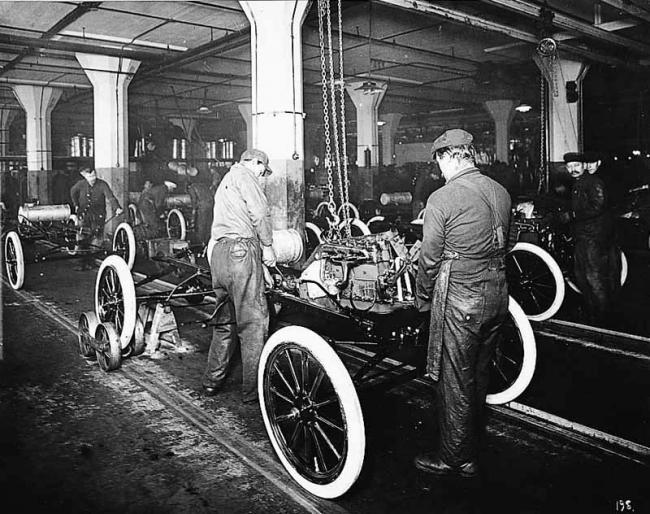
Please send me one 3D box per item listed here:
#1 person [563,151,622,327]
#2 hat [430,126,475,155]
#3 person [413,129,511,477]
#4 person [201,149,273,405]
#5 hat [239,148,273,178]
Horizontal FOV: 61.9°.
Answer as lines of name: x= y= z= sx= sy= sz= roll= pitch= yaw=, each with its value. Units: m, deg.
person: x=3.535 y=-0.307 z=7.168 sx=0.739 sy=2.074 sz=0.389 roll=1 pitch=6 yaw=16
hat: x=0.959 y=-0.842 z=4.168 sx=0.207 sy=0.165 sz=0.265 roll=-6 pitch=-1 yaw=-43
person: x=1.036 y=0.343 z=4.106 sx=0.694 sy=2.578 sz=0.393 roll=0 pitch=5 yaw=4
person: x=-0.780 y=0.169 z=5.176 sx=0.725 sy=2.343 sz=0.493 roll=4 pitch=7 yaw=38
hat: x=-0.659 y=-0.910 z=5.448 sx=0.383 sy=0.250 sz=0.277 roll=3 pitch=8 yaw=-31
